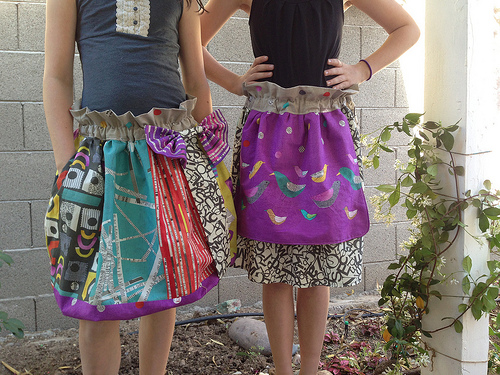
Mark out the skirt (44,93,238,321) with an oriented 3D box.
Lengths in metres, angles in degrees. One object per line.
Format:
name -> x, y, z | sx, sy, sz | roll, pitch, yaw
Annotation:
skirt -> -0.429, 0.056, 2.157 | 0.850, 0.771, 0.478 | -10, 9, -43
